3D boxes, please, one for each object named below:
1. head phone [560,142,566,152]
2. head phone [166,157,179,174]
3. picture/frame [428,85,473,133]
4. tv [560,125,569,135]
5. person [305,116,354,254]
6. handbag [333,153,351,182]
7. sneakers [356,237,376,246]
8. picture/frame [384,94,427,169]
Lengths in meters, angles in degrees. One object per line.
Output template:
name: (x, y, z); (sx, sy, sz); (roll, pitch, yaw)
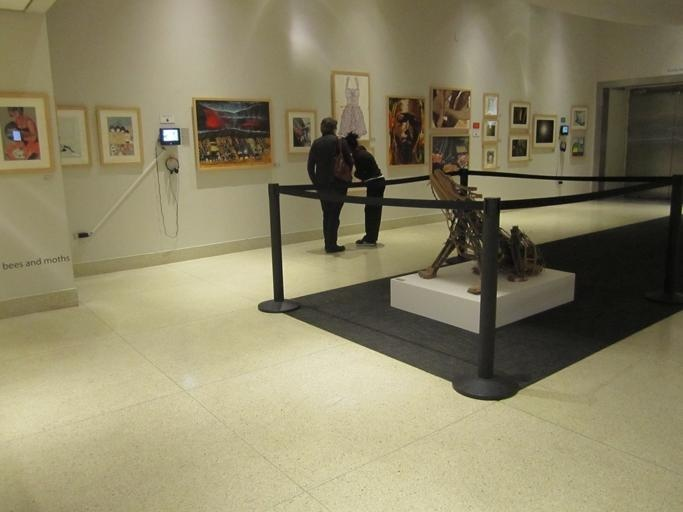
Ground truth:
head phone: (6.313, -3.148, 13.756); (0.206, 0.268, 0.092); (2, 9, -5)
head phone: (-2.735, -1.481, 7.799); (0.218, 0.269, 0.078); (-7, 13, -22)
picture/frame: (2.519, -3.412, 11.030); (1.171, 0.905, 0.015); (-7, 16, -26)
tv: (6.329, -3.633, 13.688); (0.245, 0.257, 0.144); (-4, 12, -21)
person: (-0.170, -1.219, 8.222); (0.737, 2.303, 0.852); (-4, 13, -10)
handbag: (0.010, -1.532, 8.120); (0.383, 0.489, 0.210); (5, 8, 32)
sneakers: (0.458, -0.284, 8.961); (0.318, 0.151, 0.155); (6, 9, 22)
picture/frame: (1.407, -2.714, 10.383); (1.067, 1.404, 0.071); (-10, 15, -34)
